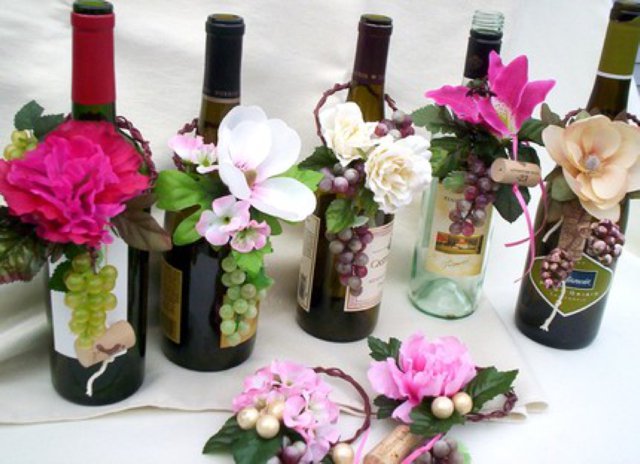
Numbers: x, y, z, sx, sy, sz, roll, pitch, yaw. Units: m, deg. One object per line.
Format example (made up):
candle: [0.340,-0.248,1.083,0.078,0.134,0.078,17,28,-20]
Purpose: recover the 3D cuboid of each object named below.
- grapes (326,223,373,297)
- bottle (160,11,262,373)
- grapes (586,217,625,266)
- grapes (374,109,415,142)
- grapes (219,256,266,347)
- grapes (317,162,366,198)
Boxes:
grapes: [0.037,0.039,0.746,0.061,0.109,0.052,4,27,1]
bottle: [-0.158,-0.034,0.724,0.137,0.469,0.200,-5,28,-17]
grapes: [0.419,0.018,0.811,0.053,0.068,0.038,3,-11,-1]
grapes: [0.103,-0.145,0.738,0.042,0.033,0.063,18,29,27]
grapes: [-0.106,0.091,0.742,0.060,0.158,0.098,-1,27,-9]
grapes: [0.032,-0.068,0.708,0.049,0.020,0.050,18,37,40]
